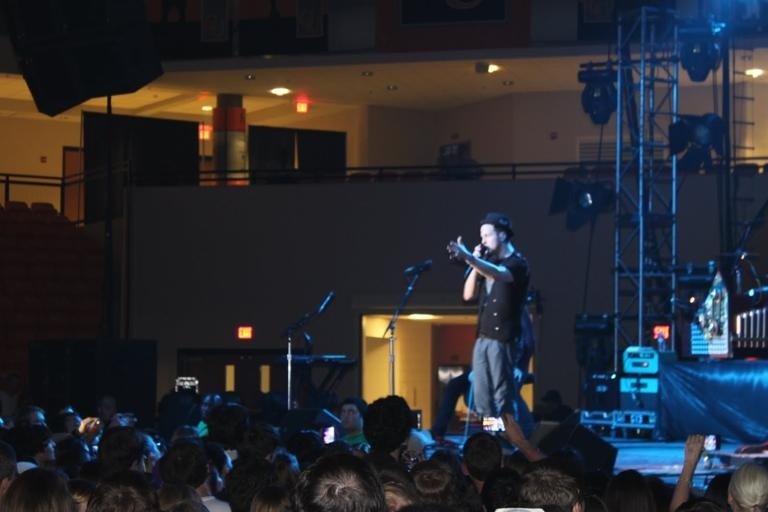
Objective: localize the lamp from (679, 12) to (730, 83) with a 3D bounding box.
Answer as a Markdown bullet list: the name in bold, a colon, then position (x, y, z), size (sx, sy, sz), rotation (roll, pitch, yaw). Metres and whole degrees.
- **lamp**: position (5.489, -3.627, 30.535), size (0.792, 0.979, 0.937), rotation (0, -4, 8)

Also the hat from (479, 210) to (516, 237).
- **hat**: position (1.757, -0.476, 25.911), size (0.447, 0.180, 0.505), rotation (6, -6, 22)

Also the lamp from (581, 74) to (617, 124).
- **lamp**: position (3.763, -2.814, 30.822), size (0.599, 0.859, 0.493), rotation (0, -4, 7)

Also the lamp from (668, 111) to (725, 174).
- **lamp**: position (5.655, -2.091, 30.817), size (0.891, 1.103, 0.875), rotation (-12, 8, 17)
